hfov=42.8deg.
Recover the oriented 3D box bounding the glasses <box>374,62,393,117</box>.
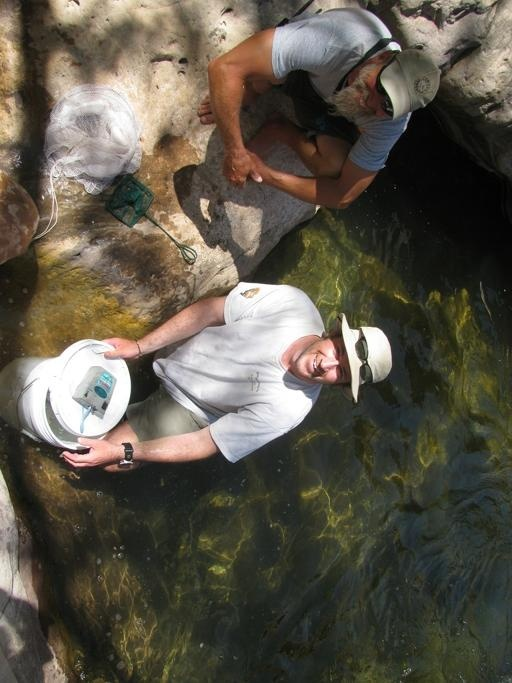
[{"bbox_3d":[0.619,-1.221,3.225,0.055,0.186,0.183,1,72,29],"label":"glasses"}]

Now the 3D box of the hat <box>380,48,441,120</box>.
[{"bbox_3d":[0.782,-1.334,3.295,0.242,0.273,0.373,8,53,41],"label":"hat"}]

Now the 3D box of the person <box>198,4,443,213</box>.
[{"bbox_3d":[0.349,-1.267,3.633,1.155,1.074,0.627,13,32,10],"label":"person"}]

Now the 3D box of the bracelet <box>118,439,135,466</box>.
[{"bbox_3d":[-0.749,0.662,3.810,0.111,0.143,0.154,7,75,-10],"label":"bracelet"}]
